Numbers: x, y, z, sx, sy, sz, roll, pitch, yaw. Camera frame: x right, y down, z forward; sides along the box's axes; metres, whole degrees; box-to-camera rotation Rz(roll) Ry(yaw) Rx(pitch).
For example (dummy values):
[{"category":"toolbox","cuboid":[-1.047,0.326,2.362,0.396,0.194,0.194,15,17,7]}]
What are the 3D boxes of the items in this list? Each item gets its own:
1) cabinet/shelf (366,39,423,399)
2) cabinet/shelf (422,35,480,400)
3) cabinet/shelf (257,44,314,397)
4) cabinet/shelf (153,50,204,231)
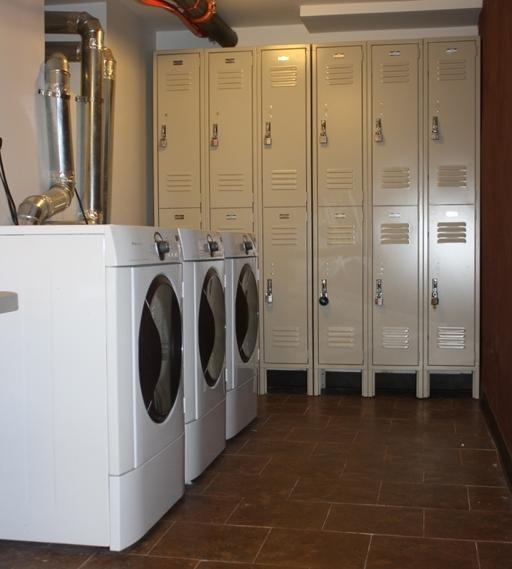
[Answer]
[{"category":"cabinet/shelf","cuboid":[1.079,-0.520,4.104,0.370,2.762,0.371,0,-2,20]},{"category":"cabinet/shelf","cuboid":[1.493,-0.536,4.063,0.354,2.677,0.295,1,6,20]},{"category":"cabinet/shelf","cuboid":[0.241,-0.529,4.368,0.448,2.867,0.559,1,-10,-6]},{"category":"cabinet/shelf","cuboid":[-0.671,-1.260,4.515,0.402,0.477,1.915,-6,-37,-13]}]
